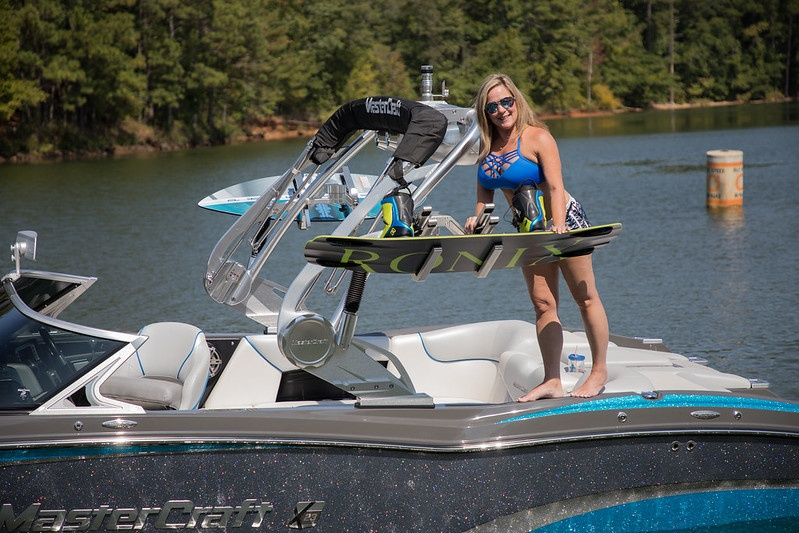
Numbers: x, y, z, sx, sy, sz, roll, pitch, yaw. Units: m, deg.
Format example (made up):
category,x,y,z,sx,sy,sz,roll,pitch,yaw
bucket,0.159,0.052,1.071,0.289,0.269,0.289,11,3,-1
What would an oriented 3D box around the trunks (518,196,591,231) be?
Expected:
category,x,y,z,sx,sy,sz,roll,pitch,yaw
trunks,1.874,-0.594,14.668,0.702,0.436,0.619,6,6,2
